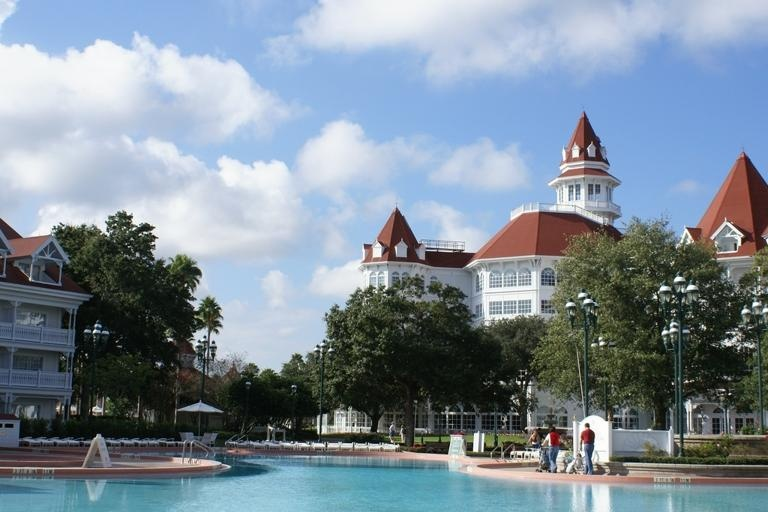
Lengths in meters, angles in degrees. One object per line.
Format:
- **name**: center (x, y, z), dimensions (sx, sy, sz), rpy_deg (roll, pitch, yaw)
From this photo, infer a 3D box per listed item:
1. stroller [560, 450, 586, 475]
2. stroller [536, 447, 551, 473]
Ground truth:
- **stroller**: center (11.633, 12.955, 73.176), dimensions (1.018, 0.708, 1.357), rpy_deg (0, -23, -1)
- **stroller**: center (10.017, 12.916, 74.530), dimensions (1.169, 1.599, 1.202), rpy_deg (-1, -16, 7)
